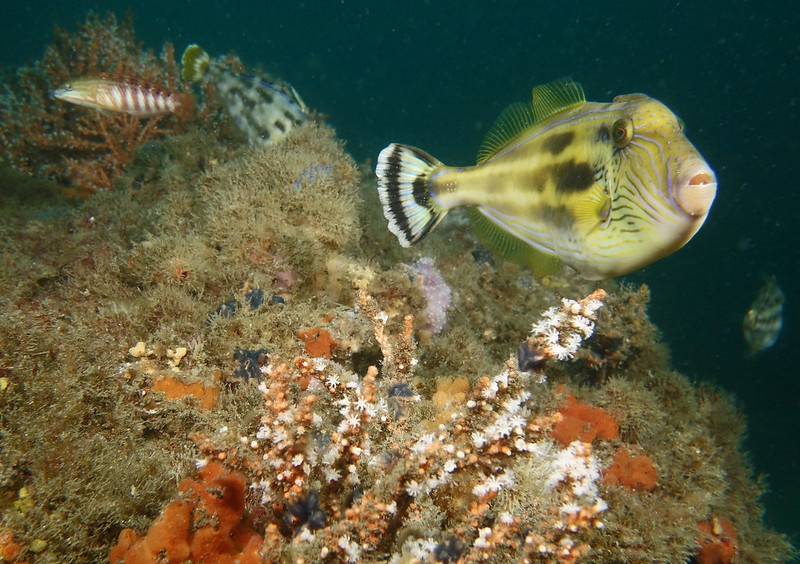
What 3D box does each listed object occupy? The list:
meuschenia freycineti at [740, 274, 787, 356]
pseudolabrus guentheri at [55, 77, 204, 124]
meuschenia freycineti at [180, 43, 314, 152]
[{"bbox_3d":[8.520,0.844,20.065,0.572,1.016,2.093,30,71,-33],"label":"meuschenia freycineti"},{"bbox_3d":[-5.599,-3.656,17.418,1.683,2.330,0.973,8,112,26],"label":"pseudolabrus guentheri"},{"bbox_3d":[-3.345,-3.877,18.850,2.054,2.276,2.540,-9,110,-21],"label":"meuschenia freycineti"}]
